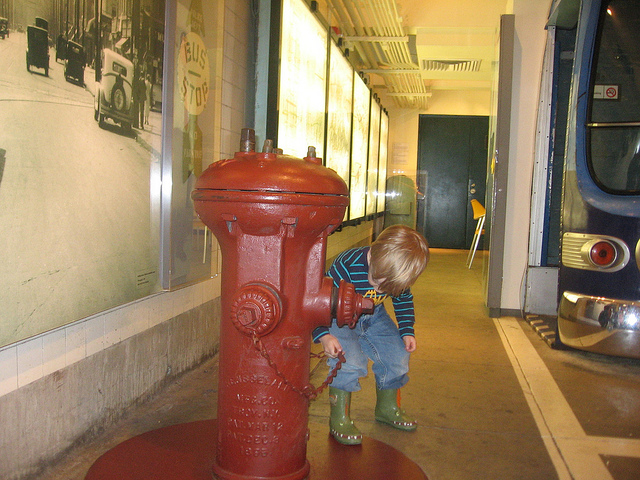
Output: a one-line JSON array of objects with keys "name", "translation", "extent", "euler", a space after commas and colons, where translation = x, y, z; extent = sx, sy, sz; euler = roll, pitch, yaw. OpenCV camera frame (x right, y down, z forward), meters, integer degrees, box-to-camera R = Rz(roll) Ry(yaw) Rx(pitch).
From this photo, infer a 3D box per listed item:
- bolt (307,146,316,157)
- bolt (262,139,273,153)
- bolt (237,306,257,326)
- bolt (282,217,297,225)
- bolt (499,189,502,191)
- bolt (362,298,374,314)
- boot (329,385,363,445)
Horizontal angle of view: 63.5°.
[{"name": "bolt", "translation": [-0.038, -0.384, 2.263], "extent": [0.038, 0.070, 0.038], "euler": [-8, 15, -33]}, {"name": "bolt", "translation": [-0.215, -0.386, 2.160], "extent": [0.053, 0.066, 0.054], "euler": [12, 14, 42]}, {"name": "bolt", "translation": [-0.286, 0.294, 2.015], "extent": [0.064, 0.064, 0.046], "euler": [11, 10, 15]}, {"name": "bolt", "translation": [-0.121, -0.073, 2.032], "extent": [0.040, 0.025, 0.010], "euler": [-3, 6, -10]}, {"name": "bolt", "translation": [1.878, -0.514, 5.403], "extent": [0.018, 0.021, 0.004], "euler": [4, 0, 1]}, {"name": "bolt", "translation": [0.201, 0.279, 2.184], "extent": [0.056, 0.056, 0.055], "euler": [8, -9, -8]}, {"name": "boot", "translation": [0.123, 0.890, 2.705], "extent": [0.130, 0.290, 0.277], "euler": [3, -2, -27]}]
